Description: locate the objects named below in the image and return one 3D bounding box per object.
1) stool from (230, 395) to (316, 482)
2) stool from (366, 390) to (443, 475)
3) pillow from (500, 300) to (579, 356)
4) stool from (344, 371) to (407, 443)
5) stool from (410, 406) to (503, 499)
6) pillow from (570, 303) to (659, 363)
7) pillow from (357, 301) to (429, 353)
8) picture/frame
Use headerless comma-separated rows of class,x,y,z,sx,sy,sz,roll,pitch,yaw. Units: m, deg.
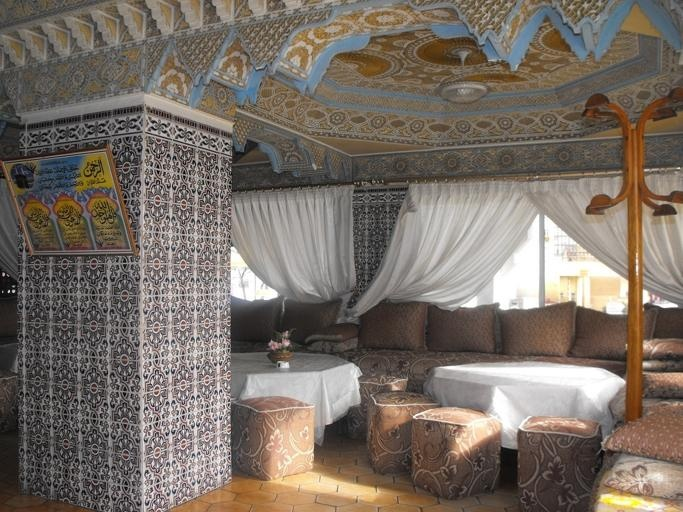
stool,-0.545,1.508,4.630,0.745,0.483,0.680,1,-2,-34
stool,0.430,1.521,4.718,0.730,0.530,0.637,2,-5,-20
pillow,2.354,0.889,6.370,0.774,0.399,0.245,-4,-15,22
stool,0.327,1.534,5.483,0.703,0.477,0.691,-7,-10,37
stool,0.848,1.493,4.256,0.763,0.503,0.670,3,-6,-36
pillow,2.743,0.812,5.432,1.019,0.620,0.379,4,1,28
pillow,0.676,0.922,6.795,0.764,0.387,0.250,-1,-10,21
picture/frame,-1.899,-0.384,3.833,1.104,0.578,0.042,1,15,25
